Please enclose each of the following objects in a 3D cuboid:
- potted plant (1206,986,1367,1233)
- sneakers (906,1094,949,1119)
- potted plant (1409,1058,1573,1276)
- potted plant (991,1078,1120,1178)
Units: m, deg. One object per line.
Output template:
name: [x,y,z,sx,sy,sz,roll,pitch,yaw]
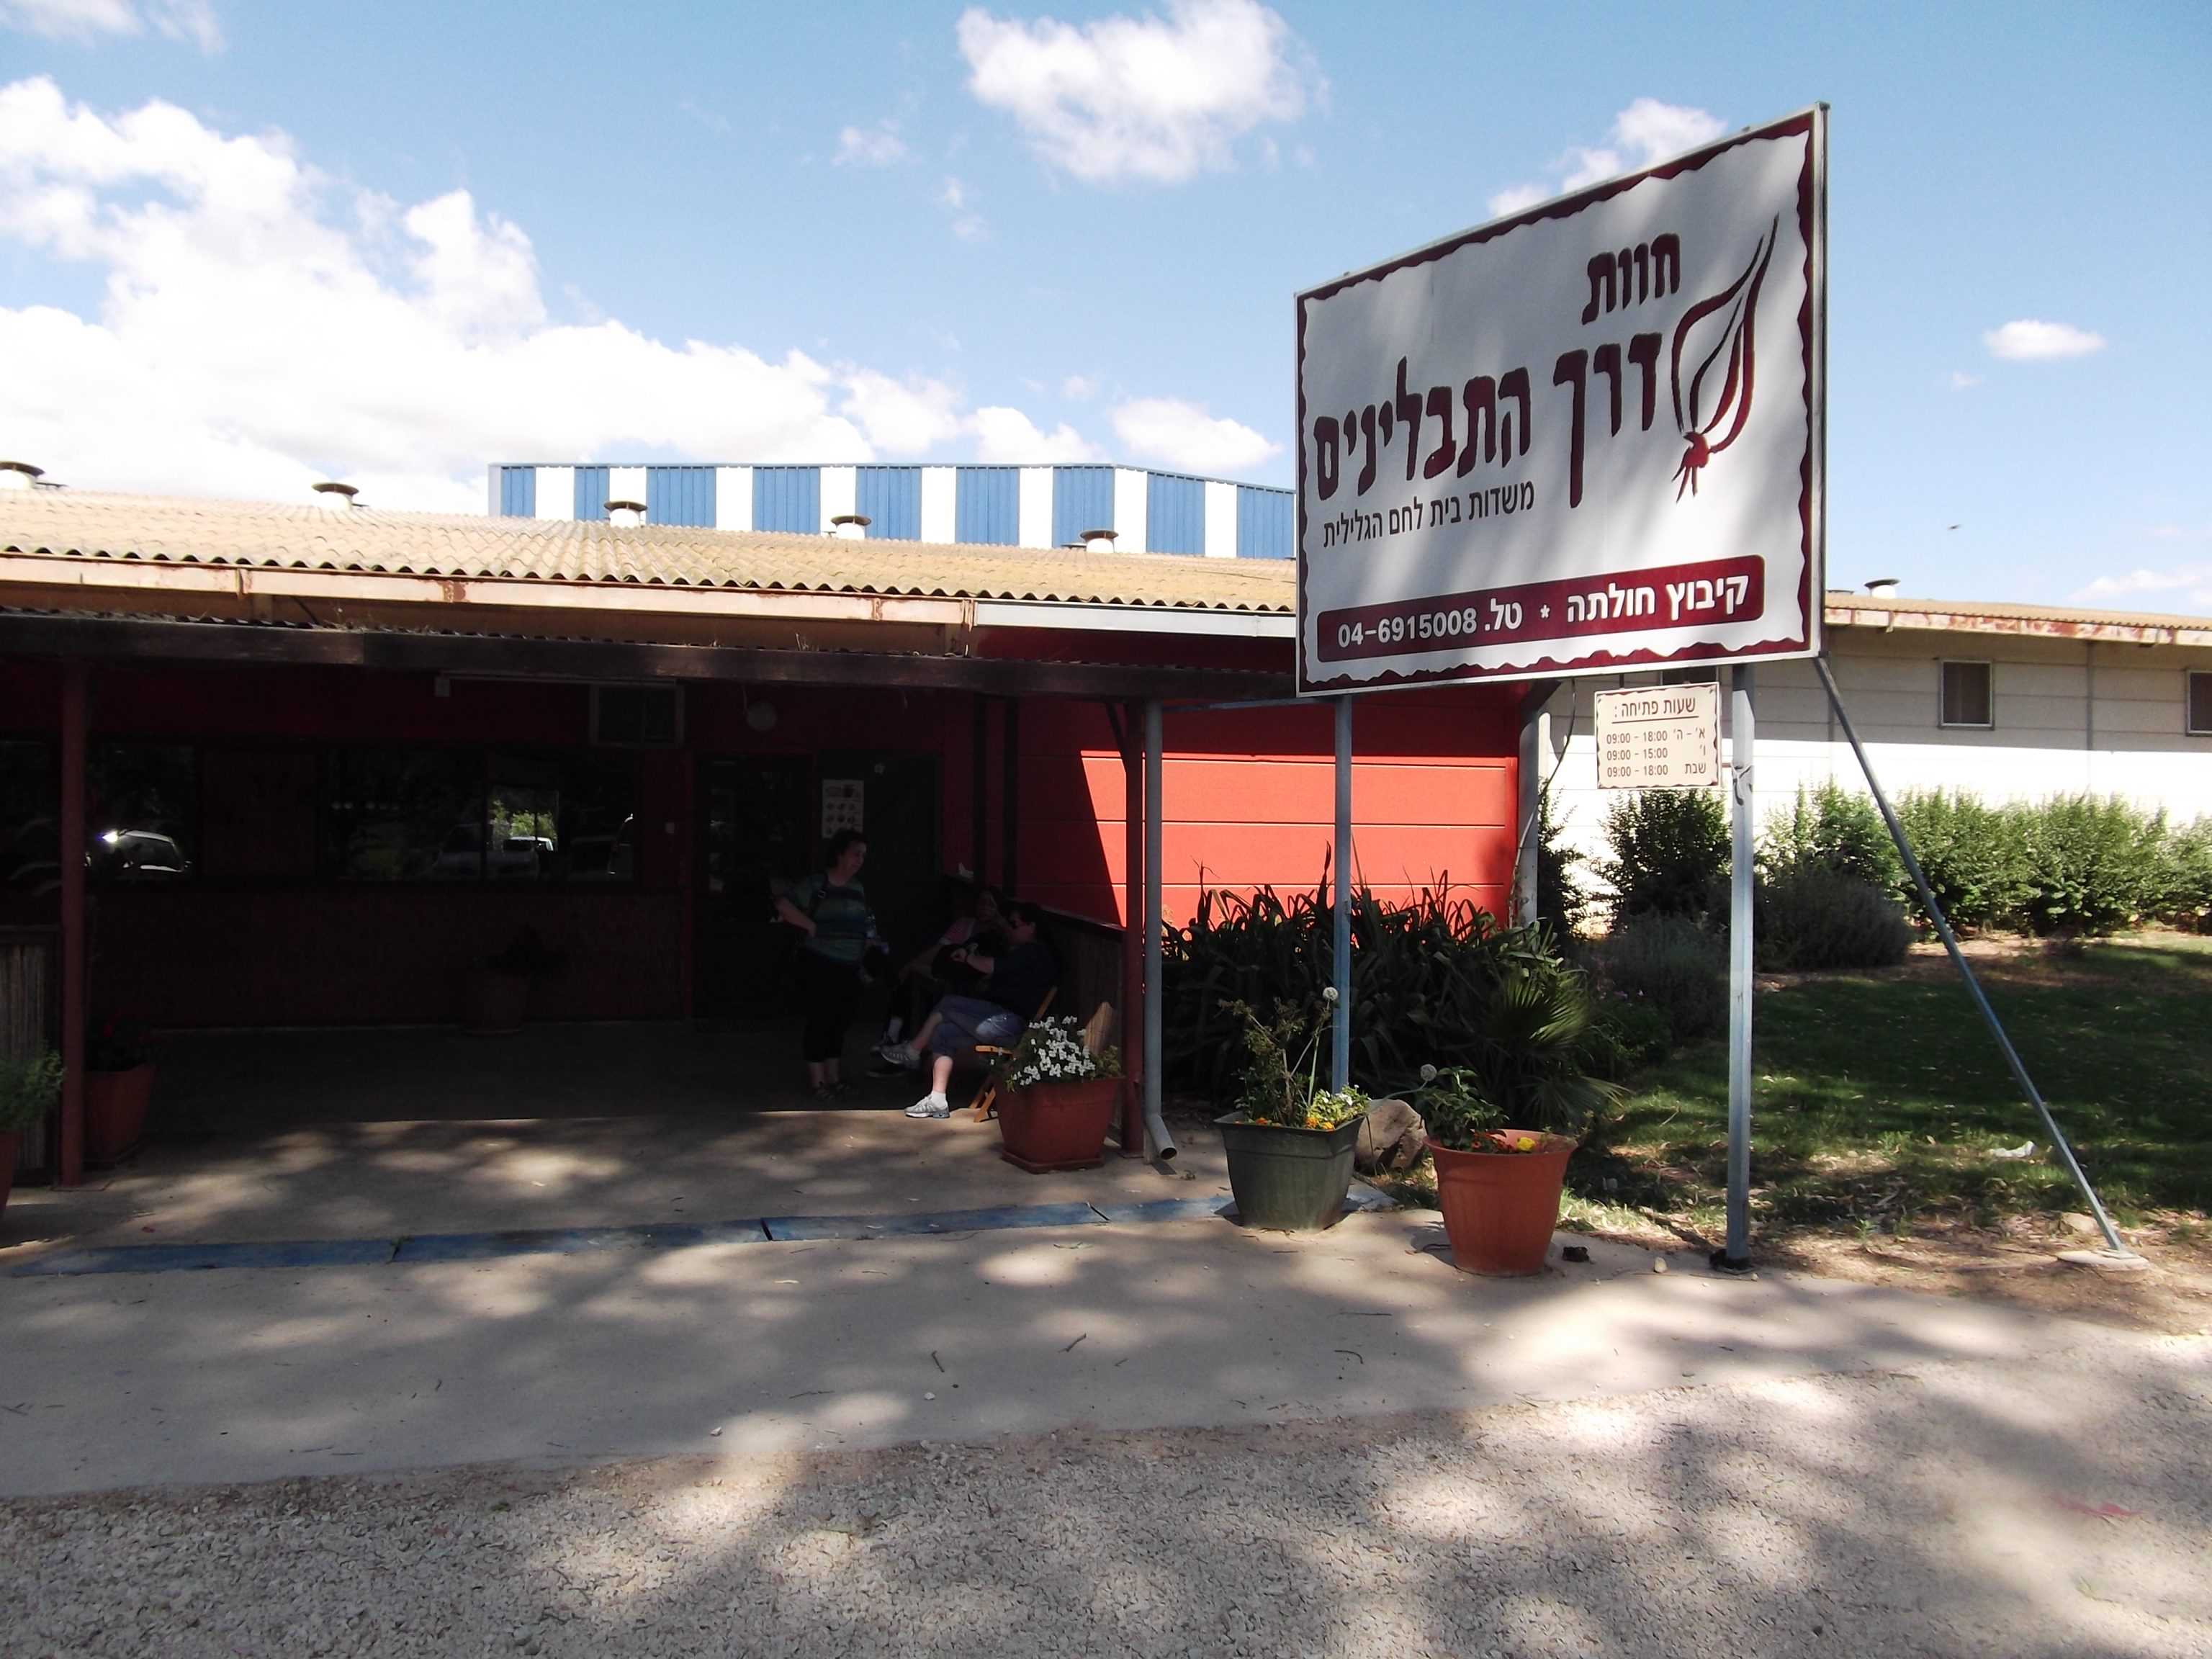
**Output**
potted plant: [0.938,1.431,8.427,0.701,1.081,0.677,-3,-5,26]
sneakers: [-1.154,1.761,10.660,0.255,0.137,0.370,-1,5,6]
potted plant: [1.876,1.679,7.699,0.590,0.642,0.662,-1,-10,23]
potted plant: [-0.281,1.656,9.381,0.473,0.413,0.578,1,-1,-1]
